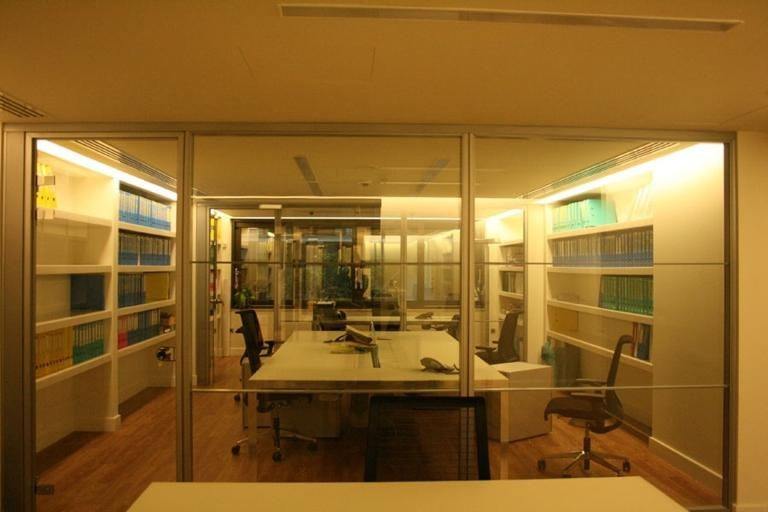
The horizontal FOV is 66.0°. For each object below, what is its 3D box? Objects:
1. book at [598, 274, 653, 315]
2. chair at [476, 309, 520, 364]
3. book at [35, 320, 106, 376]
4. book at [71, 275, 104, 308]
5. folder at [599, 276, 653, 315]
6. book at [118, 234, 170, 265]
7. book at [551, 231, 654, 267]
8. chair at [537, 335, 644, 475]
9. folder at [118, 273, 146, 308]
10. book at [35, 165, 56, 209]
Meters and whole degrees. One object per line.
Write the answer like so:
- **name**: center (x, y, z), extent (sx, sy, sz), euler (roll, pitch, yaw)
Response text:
- **book**: center (2.079, 0.324, 5.049), extent (0.331, 0.242, 0.026), euler (1, -2, 7)
- **chair**: center (1.004, 0.731, 5.277), extent (0.418, 0.651, 0.409), euler (1, -7, 11)
- **book**: center (-2.733, 0.806, 5.142), extent (0.561, 0.393, 0.063), euler (-1, 0, -42)
- **book**: center (-2.629, 0.313, 5.189), extent (0.286, 0.282, 0.144), euler (2, -2, -31)
- **folder**: center (2.085, 0.335, 5.048), extent (0.319, 0.233, 0.025), euler (1, -2, 7)
- **book**: center (-2.176, -0.059, 5.359), extent (0.444, 0.270, 0.118), euler (-1, 0, -26)
- **book**: center (1.848, -0.064, 5.049), extent (0.851, 0.344, 0.044), euler (-2, 0, 4)
- **chair**: center (1.762, 1.302, 5.220), extent (0.746, 1.187, 0.710), euler (-1, -6, 28)
- **folder**: center (-2.290, 0.319, 5.511), extent (0.240, 0.345, 0.320), euler (1, -3, 0)
- **book**: center (-2.876, -0.595, 5.009), extent (0.150, 0.330, 0.056), euler (-1, 0, -31)
